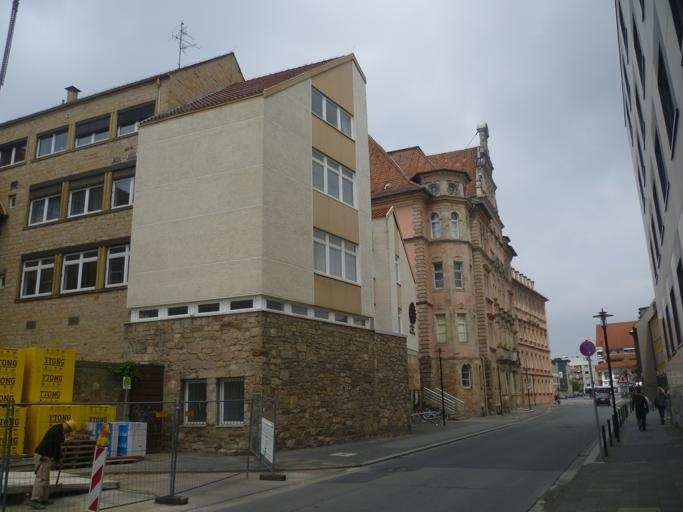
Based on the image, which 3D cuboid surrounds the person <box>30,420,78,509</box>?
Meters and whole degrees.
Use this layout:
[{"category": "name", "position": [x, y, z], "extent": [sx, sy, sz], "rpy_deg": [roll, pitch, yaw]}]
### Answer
[{"category": "person", "position": [-6.548, 4.772, 12.117], "extent": [0.781, 1.847, 0.645], "rpy_deg": [7, -19, -32]}]

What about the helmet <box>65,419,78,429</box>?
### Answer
[{"category": "helmet", "position": [-6.392, 3.986, 12.488], "extent": [0.318, 0.136, 0.243], "rpy_deg": [-6, -11, 22]}]
